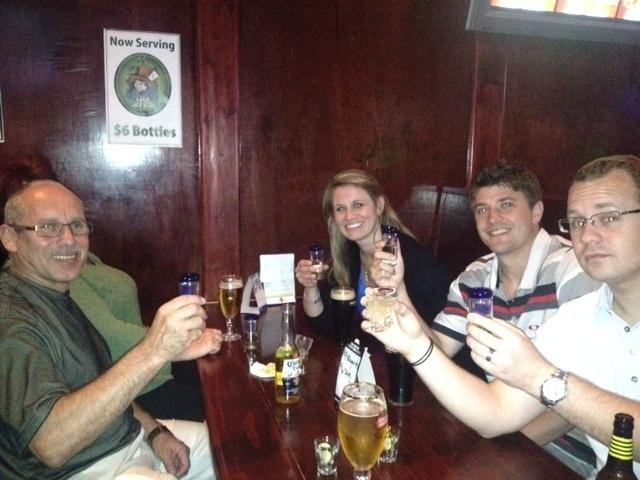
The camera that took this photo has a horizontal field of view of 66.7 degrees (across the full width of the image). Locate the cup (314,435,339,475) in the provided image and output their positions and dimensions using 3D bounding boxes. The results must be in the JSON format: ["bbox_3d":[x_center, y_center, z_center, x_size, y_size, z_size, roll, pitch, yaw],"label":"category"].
[{"bbox_3d":[0.018,0.662,1.514,0.084,0.092,0.080,-2,8,0],"label":"cup"}]

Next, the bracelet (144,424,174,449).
[{"bbox_3d":[-0.713,0.846,2.119,0.058,0.084,0.089,30,38,26],"label":"bracelet"}]

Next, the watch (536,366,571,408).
[{"bbox_3d":[0.750,0.481,1.610,0.077,0.107,0.101,36,-9,31],"label":"watch"}]

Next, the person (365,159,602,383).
[{"bbox_3d":[0.926,0.200,3.030,0.979,1.575,1.260,24,-34,-27],"label":"person"}]

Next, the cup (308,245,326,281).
[{"bbox_3d":[-0.016,0.133,2.778,0.075,0.190,0.154,-4,9,-3],"label":"cup"}]

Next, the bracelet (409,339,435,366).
[{"bbox_3d":[0.372,0.411,1.738,0.019,0.086,0.084,36,42,10],"label":"bracelet"}]

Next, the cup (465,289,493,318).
[{"bbox_3d":[0.531,0.205,1.624,0.082,0.097,0.084,1,5,0],"label":"cup"}]

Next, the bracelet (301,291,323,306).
[{"bbox_3d":[-0.037,0.318,2.692,0.084,0.089,0.061,-17,41,-27],"label":"bracelet"}]
